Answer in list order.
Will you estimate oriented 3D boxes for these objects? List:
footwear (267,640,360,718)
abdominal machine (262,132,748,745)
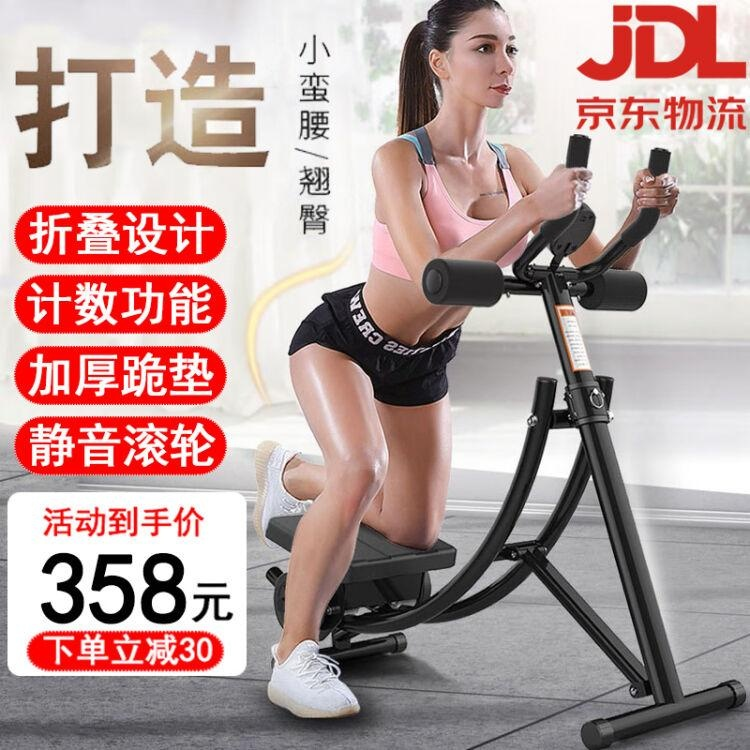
[{"bbox_3d":[-0.124,0.599,1.658,0.098,0.108,0.221,2,-2,-43],"label":"footwear"},{"bbox_3d":[0.239,0.173,2.141,0.779,1.376,1.391,1,-1,-41],"label":"abdominal machine"}]
